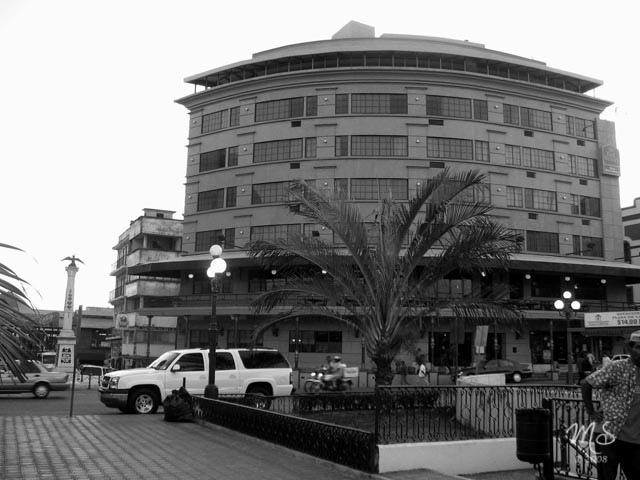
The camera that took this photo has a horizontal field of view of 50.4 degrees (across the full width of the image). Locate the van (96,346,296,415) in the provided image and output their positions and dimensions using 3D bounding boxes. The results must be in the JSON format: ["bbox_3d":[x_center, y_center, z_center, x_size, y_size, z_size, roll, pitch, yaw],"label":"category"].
[{"bbox_3d":[-4.042,4.692,22.953,6.279,2.431,3.011,6,-16,-16],"label":"van"}]

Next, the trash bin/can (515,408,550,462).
[{"bbox_3d":[3.963,3.712,12.824,0.742,1.038,0.708,-9,-18,36],"label":"trash bin/can"}]
